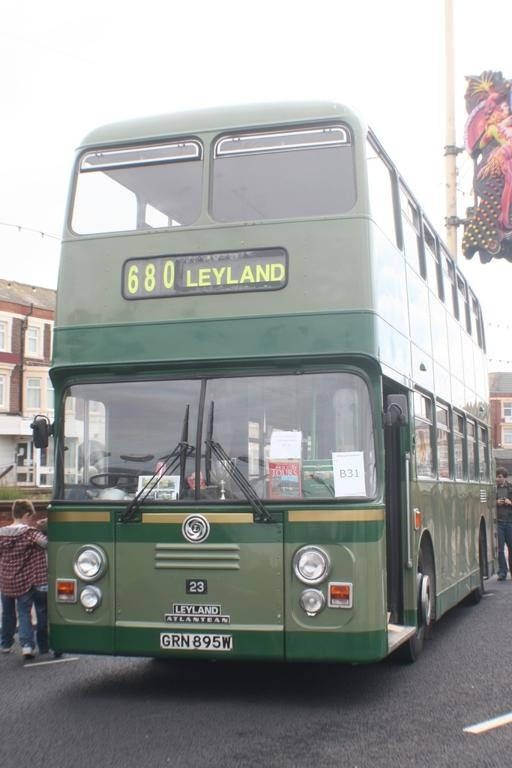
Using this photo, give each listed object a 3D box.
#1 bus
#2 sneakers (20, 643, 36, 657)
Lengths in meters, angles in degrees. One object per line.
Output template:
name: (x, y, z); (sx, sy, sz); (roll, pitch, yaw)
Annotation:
bus: (-0.147, 0.210, 8.192); (2.120, 4.492, 7.888); (-1, -4, 3)
sneakers: (-2.321, 2.747, 6.189); (0.069, 0.102, 0.218); (0, -22, 1)
